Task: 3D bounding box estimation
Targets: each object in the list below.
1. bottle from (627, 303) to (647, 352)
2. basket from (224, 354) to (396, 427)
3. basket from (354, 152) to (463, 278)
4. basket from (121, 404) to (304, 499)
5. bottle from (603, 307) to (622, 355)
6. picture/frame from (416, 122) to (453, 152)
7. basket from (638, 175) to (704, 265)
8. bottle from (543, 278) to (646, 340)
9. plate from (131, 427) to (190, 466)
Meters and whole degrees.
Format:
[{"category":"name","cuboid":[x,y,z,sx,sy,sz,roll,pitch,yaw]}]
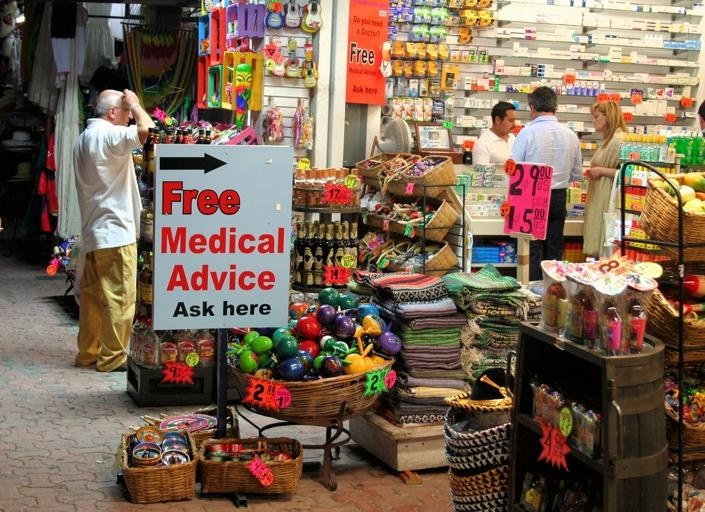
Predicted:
[{"category":"bottle","cuboid":[1.225,0.296,2.716,0.050,0.202,0.170,9,11,39]},{"category":"basket","cuboid":[-0.230,0.920,3.960,0.734,0.264,0.739,-7,-18,-15]},{"category":"basket","cuboid":[0.547,-0.374,6.105,0.476,1.169,1.228,-3,2,-30]},{"category":"basket","cuboid":[-0.851,1.155,3.682,0.755,0.242,0.525,0,5,-14]},{"category":"bottle","cuboid":[1.084,0.302,2.631,0.082,0.194,0.044,4,8,6]},{"category":"picture/frame","cuboid":[1.049,-1.556,8.291,0.550,0.401,0.041,2,-18,-34]},{"category":"basket","cuboid":[1.676,-0.182,3.264,0.286,0.425,0.385,3,8,-1]},{"category":"bottle","cuboid":[1.051,0.217,2.744,0.315,0.232,0.339,2,0,0]},{"category":"plate","cuboid":[-1.131,1.073,3.695,0.260,0.089,0.197,6,8,33]}]
